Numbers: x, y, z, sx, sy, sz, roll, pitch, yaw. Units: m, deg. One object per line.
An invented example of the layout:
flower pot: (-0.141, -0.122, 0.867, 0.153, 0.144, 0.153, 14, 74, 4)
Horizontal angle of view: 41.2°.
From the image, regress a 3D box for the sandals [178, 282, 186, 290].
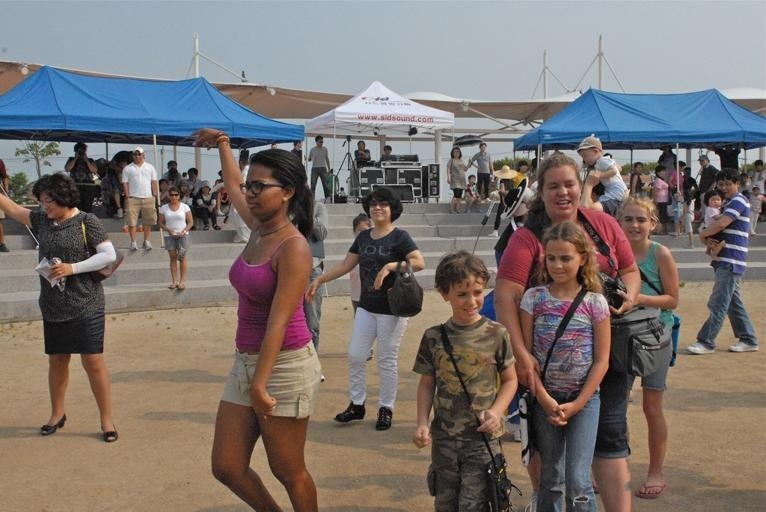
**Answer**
sandals: (-3.553, 0.556, 18.084, 0.141, 0.089, 0.351, -3, 0, -16)

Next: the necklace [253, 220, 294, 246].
necklace: (-1.081, -0.208, 10.064, 0.308, 0.148, 0.229, -14, 10, -11)

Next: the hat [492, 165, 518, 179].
hat: (3.033, -2.028, 25.374, 0.625, 0.159, 0.606, 0, 13, 6)

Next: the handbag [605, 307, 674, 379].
handbag: (2.565, 0.882, 10.270, 0.337, 0.662, 0.724, 4, 9, 44)

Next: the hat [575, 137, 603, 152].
hat: (2.609, -1.409, 12.903, 0.264, 0.130, 0.203, 5, 2, -1)

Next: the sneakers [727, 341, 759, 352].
sneakers: (5.204, 1.327, 14.806, 0.433, 0.182, 0.165, 2, -3, 1)

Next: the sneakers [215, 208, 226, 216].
sneakers: (-3.706, -0.969, 23.345, 0.111, 0.208, 0.297, -8, -15, -22)

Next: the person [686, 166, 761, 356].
person: (4.869, 0.099, 14.521, 0.843, 2.663, 0.808, 0, 7, 19)

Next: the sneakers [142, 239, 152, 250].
sneakers: (-4.489, -0.168, 19.557, 0.103, 0.117, 0.286, -2, -4, -23)

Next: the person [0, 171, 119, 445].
person: (-3.619, 0.626, 11.924, 1.090, 3.159, 0.549, 0, 7, 16)

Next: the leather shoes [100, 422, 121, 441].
leather shoes: (-3.211, 2.101, 12.040, 0.191, 0.127, 0.546, 1, 4, -22)

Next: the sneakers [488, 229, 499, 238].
sneakers: (2.443, -0.476, 22.802, 0.272, 0.215, 0.110, 17, 15, 27)

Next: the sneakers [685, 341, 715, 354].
sneakers: (4.548, 1.345, 14.699, 0.384, 0.154, 0.150, 3, -1, 0)

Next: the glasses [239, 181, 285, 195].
glasses: (-1.179, -0.665, 10.013, 0.397, 0.133, 0.130, 0, 7, 18)

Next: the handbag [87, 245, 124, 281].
handbag: (-3.197, 0.137, 12.042, 0.339, 0.153, 0.426, 26, 50, 0)
